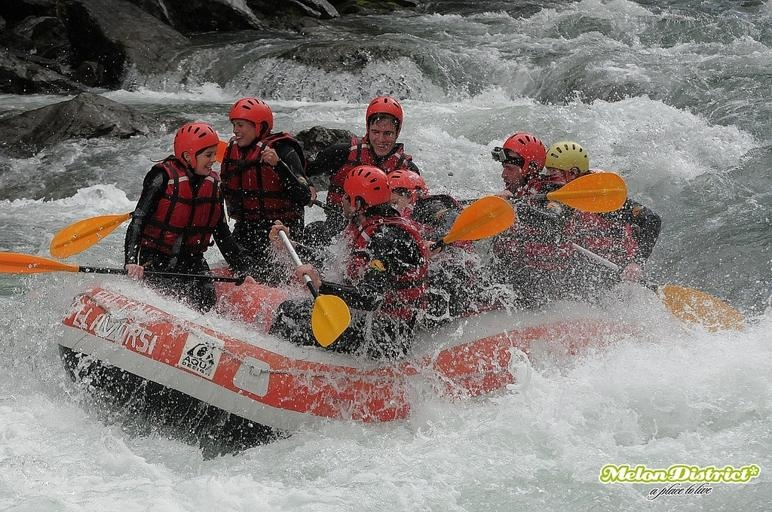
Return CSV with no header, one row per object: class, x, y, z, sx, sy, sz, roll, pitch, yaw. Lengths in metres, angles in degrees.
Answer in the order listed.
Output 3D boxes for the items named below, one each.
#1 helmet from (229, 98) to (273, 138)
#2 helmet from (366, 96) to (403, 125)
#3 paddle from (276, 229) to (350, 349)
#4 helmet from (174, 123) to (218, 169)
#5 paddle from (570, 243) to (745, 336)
helmet,-1.488,-1.520,8.526,0.507,0.379,0.404,4,94,-33
helmet,-0.012,-1.633,8.552,0.287,0.295,0.357,3,93,1
paddle,-0.613,0.398,7.426,0.406,0.573,1.031,-18,61,-7
helmet,-1.914,-1.161,7.907,0.488,0.354,0.374,2,96,-7
paddle,3.172,0.432,9.058,2.485,0.106,0.457,24,87,-4
